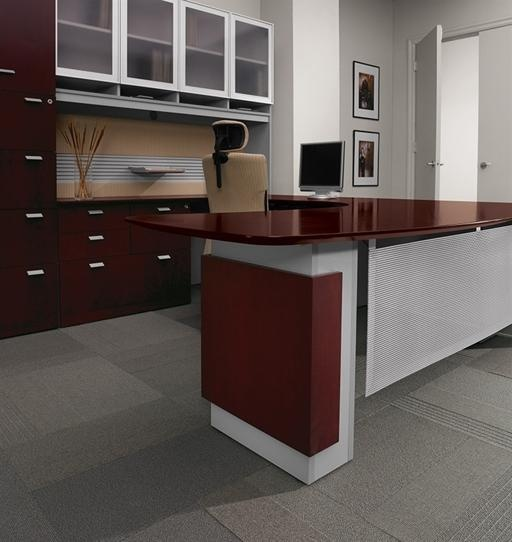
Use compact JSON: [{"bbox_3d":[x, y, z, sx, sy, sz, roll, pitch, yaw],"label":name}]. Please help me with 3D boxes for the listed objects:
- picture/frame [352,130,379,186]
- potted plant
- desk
[{"bbox_3d":[1.357,-1.439,5.132,0.029,1.010,0.564,3,4,43],"label":"picture/frame"},{"bbox_3d":[-1.344,-0.894,3.209,0.369,0.637,0.410,-3,5,-29],"label":"potted plant"},{"bbox_3d":[0.157,0.198,1.338,0.980,0.797,0.809,-5,7,-40],"label":"desk"}]
